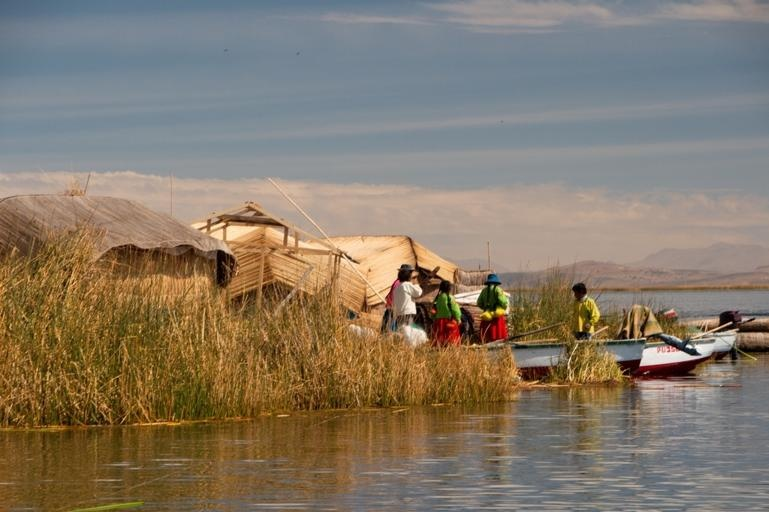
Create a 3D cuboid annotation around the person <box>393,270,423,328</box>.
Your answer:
[{"bbox_3d":[0.443,0.770,32.113,0.517,1.091,0.707,1,10,-9],"label":"person"}]

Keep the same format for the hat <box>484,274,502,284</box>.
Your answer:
[{"bbox_3d":[2.178,0.458,33.399,0.294,0.140,0.253,4,-10,2],"label":"hat"}]
